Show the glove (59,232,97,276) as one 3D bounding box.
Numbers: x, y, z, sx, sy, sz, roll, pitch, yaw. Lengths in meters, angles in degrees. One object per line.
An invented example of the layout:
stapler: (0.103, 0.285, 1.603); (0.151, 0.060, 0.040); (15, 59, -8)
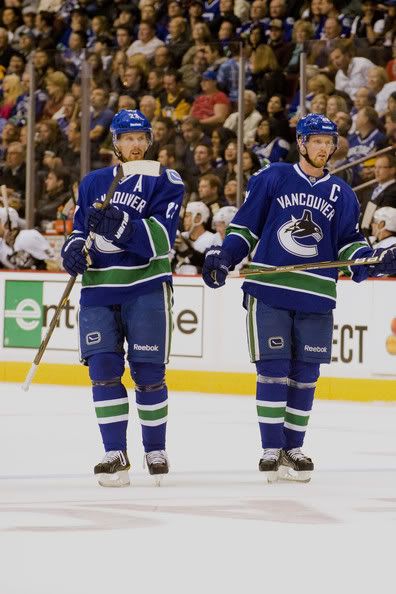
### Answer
glove: (-0.411, -0.158, 2.693); (0.075, 0.118, 0.142); (19, 49, -13)

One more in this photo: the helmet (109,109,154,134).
helmet: (-0.243, -0.644, 2.784); (0.106, 0.104, 0.122); (-4, -11, -20)

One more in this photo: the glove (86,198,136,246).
glove: (-0.289, -0.245, 2.517); (0.117, 0.152, 0.051); (-29, 37, 26)

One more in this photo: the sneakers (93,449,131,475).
sneakers: (-0.295, 0.586, 2.615); (0.065, 0.053, 0.140); (-7, -14, 26)

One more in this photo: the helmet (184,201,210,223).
helmet: (0.021, -0.817, 7.155); (0.232, 0.205, 0.181); (3, -4, 19)

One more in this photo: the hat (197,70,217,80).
hat: (0.105, -1.978, 6.695); (0.048, 0.084, 0.204); (-6, 13, -25)

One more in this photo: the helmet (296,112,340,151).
helmet: (0.466, -0.647, 2.913); (0.148, 0.130, 0.152); (-5, 13, -23)

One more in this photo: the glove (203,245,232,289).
glove: (0.073, -0.107, 2.863); (0.076, 0.146, 0.123); (19, -28, -38)

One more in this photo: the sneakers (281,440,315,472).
sneakers: (0.373, 0.628, 2.836); (0.081, 0.075, 0.186); (-2, 11, -9)
